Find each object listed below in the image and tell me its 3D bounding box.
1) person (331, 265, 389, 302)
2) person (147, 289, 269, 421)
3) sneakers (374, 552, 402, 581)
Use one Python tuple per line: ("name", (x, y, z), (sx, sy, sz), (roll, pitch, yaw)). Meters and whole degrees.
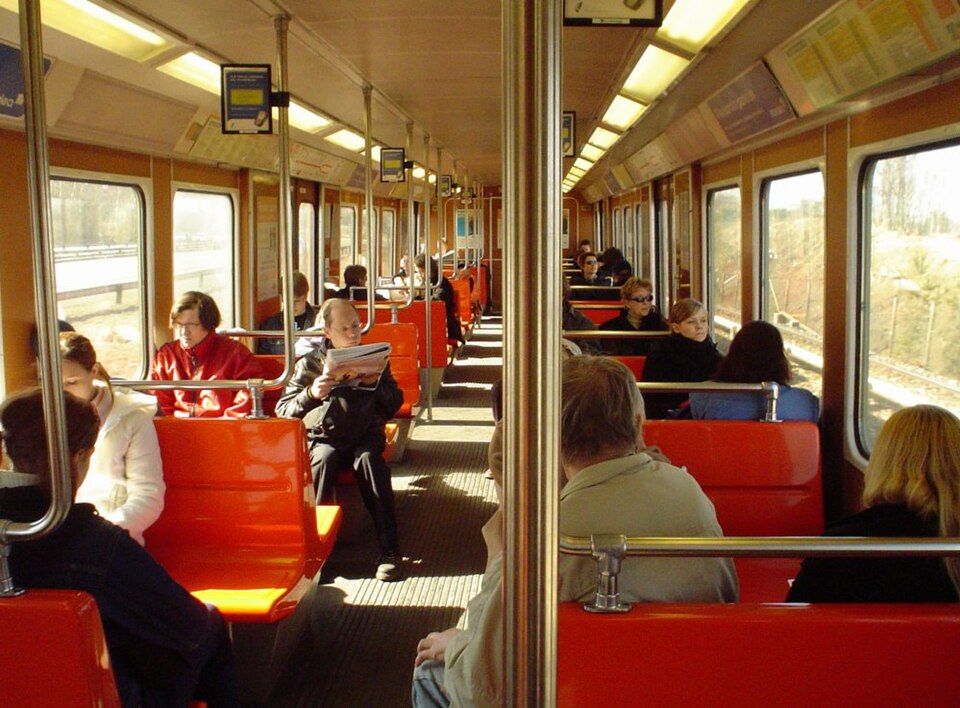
("person", (-1.523, -0.864, 9.375), (0.918, 0.480, 0.371), (4, 21, 5))
("person", (-1.937, 0.019, 5.311), (0.936, 0.923, 0.545), (-2, -8, -2))
("sneakers", (-0.556, 1.292, 4.603), (0.162, 0.121, 0.166), (-2, 9, -8))
